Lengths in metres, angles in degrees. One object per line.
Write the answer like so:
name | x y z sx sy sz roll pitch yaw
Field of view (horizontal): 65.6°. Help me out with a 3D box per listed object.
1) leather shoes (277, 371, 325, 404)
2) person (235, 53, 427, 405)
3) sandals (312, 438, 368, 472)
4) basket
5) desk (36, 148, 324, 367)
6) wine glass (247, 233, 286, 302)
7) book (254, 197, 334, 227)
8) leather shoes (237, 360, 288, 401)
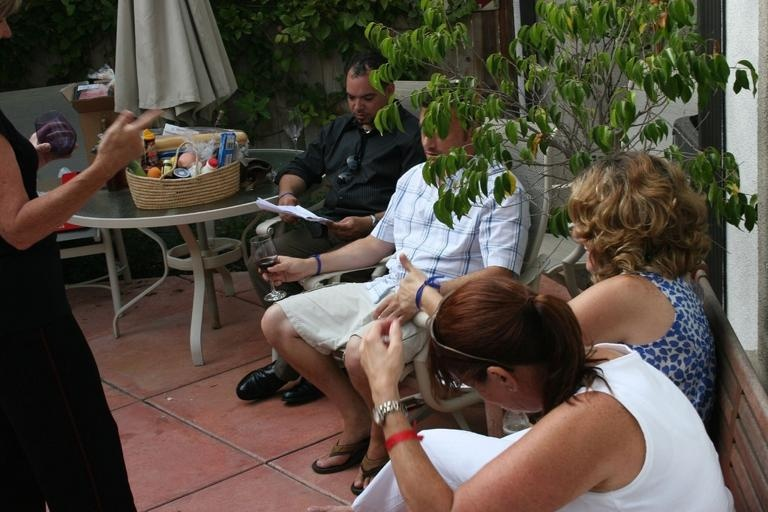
leather shoes | -0.451 0.782 3.506 0.322 0.141 0.129 2 1 -40
person | -0.334 -0.156 3.910 1.380 2.483 0.968 -19 34 -36
sandals | -0.188 0.976 2.914 0.315 0.077 0.124 -15 20 -27
basket | -1.243 -0.500 3.747 0.703 0.243 0.512 -10 29 -22
desk | -1.279 -0.074 4.208 1.575 1.355 1.550 -16 19 -37
wine glass | -0.594 0.073 3.075 0.115 0.316 0.131 -6 17 18
book | -0.530 -0.256 3.362 0.395 0.168 0.414 -11 16 -21
leather shoes | -0.700 0.746 3.461 0.382 0.142 0.154 -24 -8 -36
